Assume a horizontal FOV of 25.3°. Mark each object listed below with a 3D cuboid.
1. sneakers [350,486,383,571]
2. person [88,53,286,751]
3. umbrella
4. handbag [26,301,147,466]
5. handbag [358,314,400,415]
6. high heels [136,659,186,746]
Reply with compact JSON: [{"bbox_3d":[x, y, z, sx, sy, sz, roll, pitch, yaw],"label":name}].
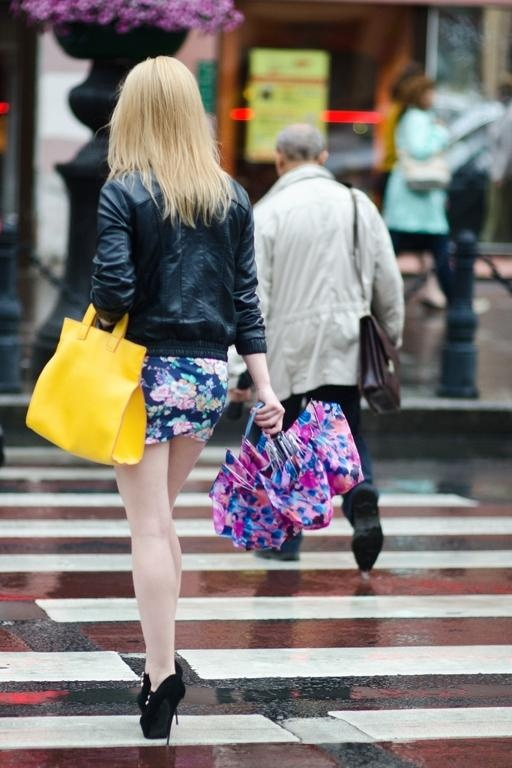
[{"bbox_3d":[0.448,0.599,4.718,0.125,0.332,0.140,-4,-4,-1],"label":"sneakers"},{"bbox_3d":[-0.172,0.075,2.988,0.444,1.733,0.936,-1,27,8],"label":"person"},{"bbox_3d":[0.100,0.248,3.696,0.303,0.455,0.570,8,33,43],"label":"umbrella"},{"bbox_3d":[-0.401,0.003,2.842,0.331,0.315,0.237,14,32,33],"label":"handbag"},{"bbox_3d":[0.498,-0.094,4.641,0.119,0.324,0.357,-6,-17,12],"label":"handbag"},{"bbox_3d":[-0.239,0.815,2.873,0.085,0.112,0.239,-6,1,-15],"label":"high heels"}]
